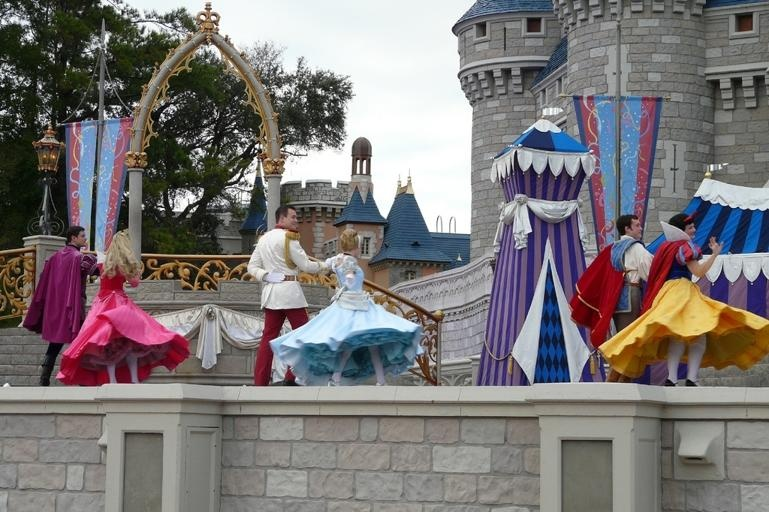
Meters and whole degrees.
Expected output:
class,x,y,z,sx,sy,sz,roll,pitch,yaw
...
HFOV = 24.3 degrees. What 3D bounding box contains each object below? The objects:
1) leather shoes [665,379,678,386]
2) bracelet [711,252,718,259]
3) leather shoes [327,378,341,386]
class,x,y,z,sx,sy,sz,roll,pitch,yaw
leather shoes,4.241,1.857,26.280,0.175,0.093,0.137,-3,11,2
bracelet,4.951,0.004,26.733,0.082,0.124,0.039,15,17,-6
leather shoes,-0.764,1.906,27.227,0.182,0.113,0.107,4,2,40
